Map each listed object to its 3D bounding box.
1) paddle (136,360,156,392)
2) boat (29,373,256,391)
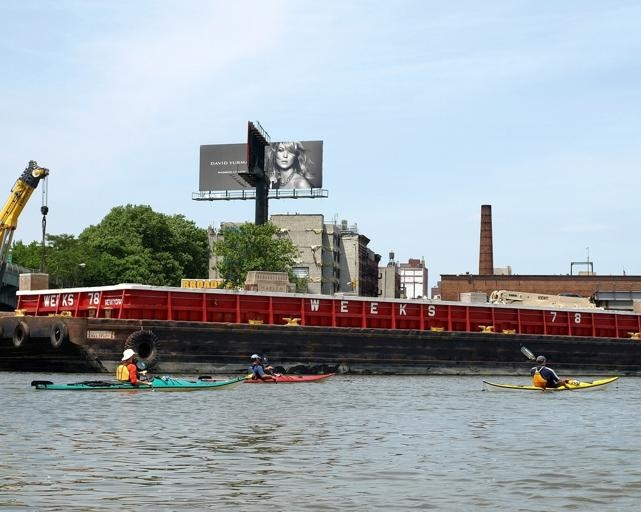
[{"bbox_3d":[-7.588,5.234,58.098,0.295,1.015,1.056,-16,20,7],"label":"paddle"},{"bbox_3d":[-7.656,5.415,56.683,8.279,0.562,1.872,2,-6,-24],"label":"boat"}]
